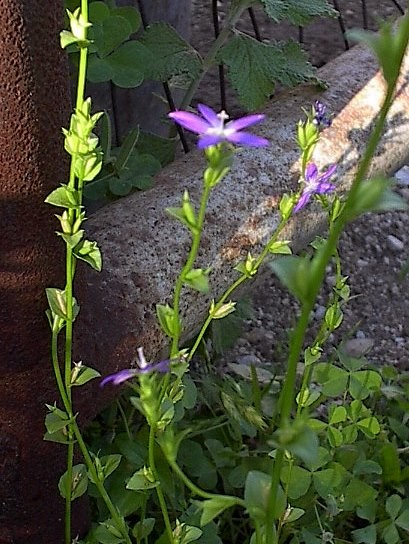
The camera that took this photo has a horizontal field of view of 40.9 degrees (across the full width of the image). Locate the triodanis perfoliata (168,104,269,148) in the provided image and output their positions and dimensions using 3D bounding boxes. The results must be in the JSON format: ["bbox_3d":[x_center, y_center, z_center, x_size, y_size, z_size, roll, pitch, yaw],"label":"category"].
[{"bbox_3d":[0.013,-0.114,0.438,0.070,0.027,0.062,13,14,30],"label":"triodanis perfoliata"}]

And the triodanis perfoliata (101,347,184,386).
[{"bbox_3d":[-0.052,0.087,0.469,0.018,0.041,0.059,-26,-19,39],"label":"triodanis perfoliata"}]
